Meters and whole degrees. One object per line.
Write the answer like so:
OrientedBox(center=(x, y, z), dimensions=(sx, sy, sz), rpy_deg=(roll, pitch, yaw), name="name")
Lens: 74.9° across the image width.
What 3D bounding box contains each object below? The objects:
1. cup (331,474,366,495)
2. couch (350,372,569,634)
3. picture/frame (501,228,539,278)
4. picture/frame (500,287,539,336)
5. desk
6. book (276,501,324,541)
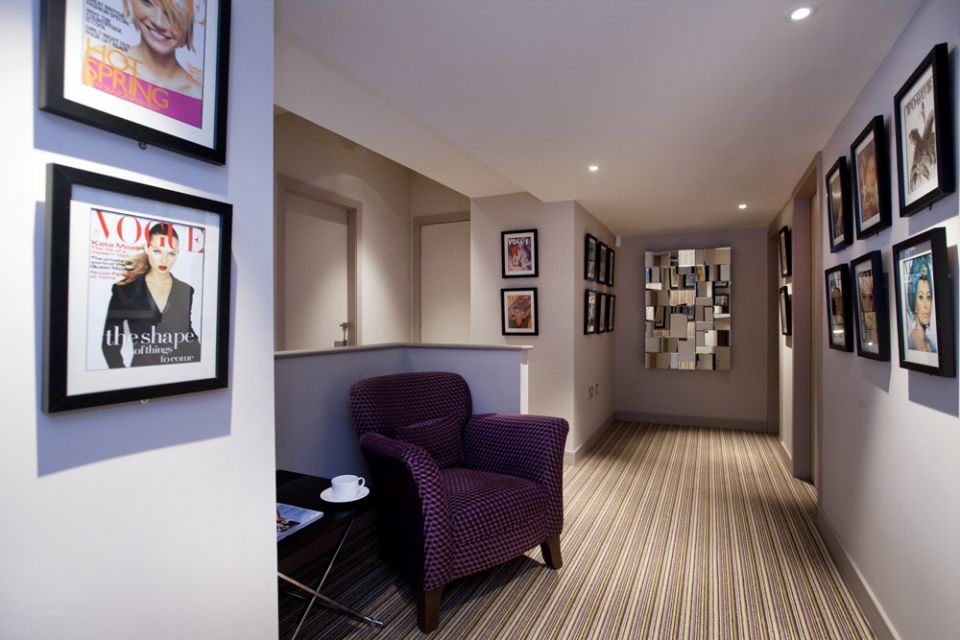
OrientedBox(center=(-0.706, 0.850, 3.288), dimensions=(0.115, 0.118, 0.156), rpy_deg=(-2, -12, 4), name="cup")
OrientedBox(center=(-0.078, 0.876, 3.772), dimensions=(1.244, 1.388, 1.136), rpy_deg=(2, -7, -40), name="couch")
OrientedBox(center=(0.363, -0.600, 5.640), dimensions=(0.394, 0.528, 0.029), rpy_deg=(0, 2, 21), name="picture/frame")
OrientedBox(center=(0.363, -0.076, 5.641), dimensions=(0.382, 0.536, 0.032), rpy_deg=(0, -3, 26), name="picture/frame")
OrientedBox(center=(-0.814, 1.217, 3.253), dimensions=(0.499, 0.671, 0.670), rpy_deg=(-3, 5, -24), name="desk")
OrientedBox(center=(-0.902, 0.955, 2.998), dimensions=(0.160, 0.028, 0.184), rpy_deg=(6, 3, 28), name="book")
